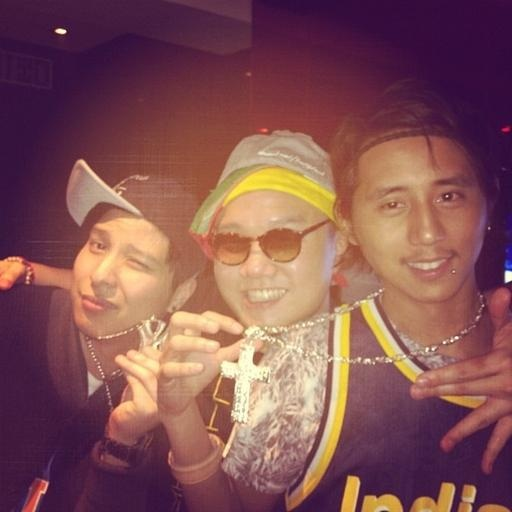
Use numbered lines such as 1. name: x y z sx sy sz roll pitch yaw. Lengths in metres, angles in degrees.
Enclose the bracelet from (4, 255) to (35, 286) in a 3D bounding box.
1. bracelet: -0.811 0.054 2.000 0.094 0.097 0.048 14 14 2
